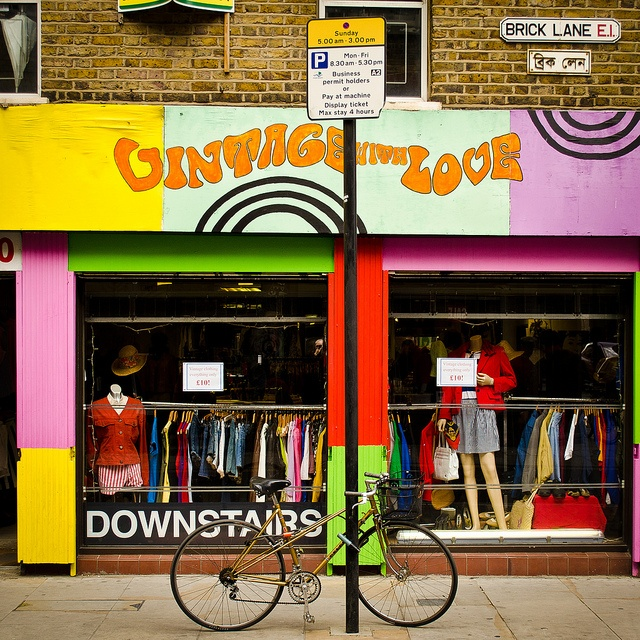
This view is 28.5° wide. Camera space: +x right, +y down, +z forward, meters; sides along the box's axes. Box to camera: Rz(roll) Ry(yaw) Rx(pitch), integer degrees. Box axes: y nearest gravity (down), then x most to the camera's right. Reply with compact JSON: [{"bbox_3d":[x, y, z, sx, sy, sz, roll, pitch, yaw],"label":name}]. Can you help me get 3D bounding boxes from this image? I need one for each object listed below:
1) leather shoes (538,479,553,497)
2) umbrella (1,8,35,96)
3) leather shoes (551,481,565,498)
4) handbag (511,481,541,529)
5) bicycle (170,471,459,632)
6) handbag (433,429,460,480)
[{"bbox_3d":[2.105,1.566,11.807,0.084,0.172,0.072,6,11,4],"label":"leather shoes"},{"bbox_3d":[-2.758,-2.444,11.423,0.340,0.733,0.192,2,12,10],"label":"umbrella"},{"bbox_3d":[2.229,1.577,11.795,0.079,0.154,0.054,-5,-39,2],"label":"leather shoes"},{"bbox_3d":[1.904,1.728,11.785,0.270,0.355,0.139,1,12,4],"label":"handbag"},{"bbox_3d":[-0.119,1.926,10.510,2.524,1.519,1.098,-2,0,0],"label":"bicycle"},{"bbox_3d":[1.170,1.233,11.808,0.128,0.462,0.247,3,-2,-42],"label":"handbag"}]
